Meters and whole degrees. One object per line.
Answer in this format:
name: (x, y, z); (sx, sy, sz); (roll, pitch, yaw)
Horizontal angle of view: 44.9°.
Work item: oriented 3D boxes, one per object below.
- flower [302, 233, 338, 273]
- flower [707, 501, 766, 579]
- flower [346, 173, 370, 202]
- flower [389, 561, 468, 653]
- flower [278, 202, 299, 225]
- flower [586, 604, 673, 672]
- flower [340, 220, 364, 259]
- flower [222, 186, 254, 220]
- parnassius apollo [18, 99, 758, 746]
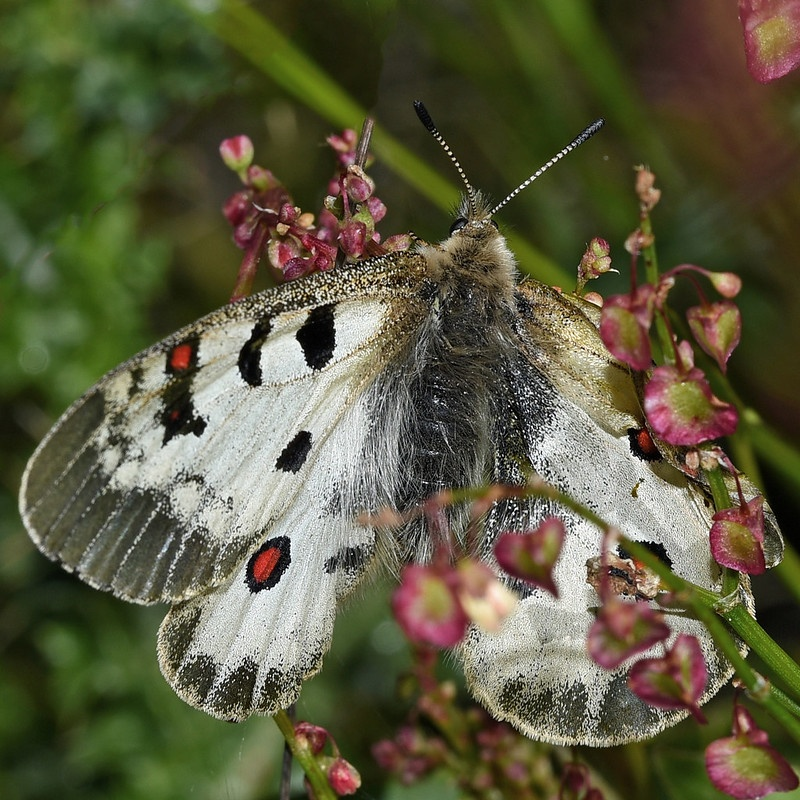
flower: (-0.099, -0.182, 1.182); (0.036, 0.021, 0.052); (-35, 75, -11)
flower: (0.329, 0.133, 0.932); (0.051, 0.025, 0.071); (14, 63, 27)
flower: (-0.051, -0.252, 1.151); (0.030, 0.039, 0.026); (3, 78, 0)
flower: (0.023, 0.161, 0.755); (0.058, 0.046, 0.061); (2, 79, -1)
flower: (-0.135, -0.223, 1.158); (0.022, 0.028, 0.015); (-7, 38, -2)
flower: (0.183, 0.186, 0.780); (0.067, 0.020, 0.053); (-14, 85, -8)
flower: (-0.056, -0.188, 1.133); (0.013, 0.032, 0.040); (-10, 109, -36)
flower: (-0.212, -0.264, 1.310); (0.038, 0.048, 0.023); (47, 33, 19)
parnassius apollo: (-0.038, 0.075, 1.717); (0.989, 0.900, 1.340); (-3, 31, -1)
